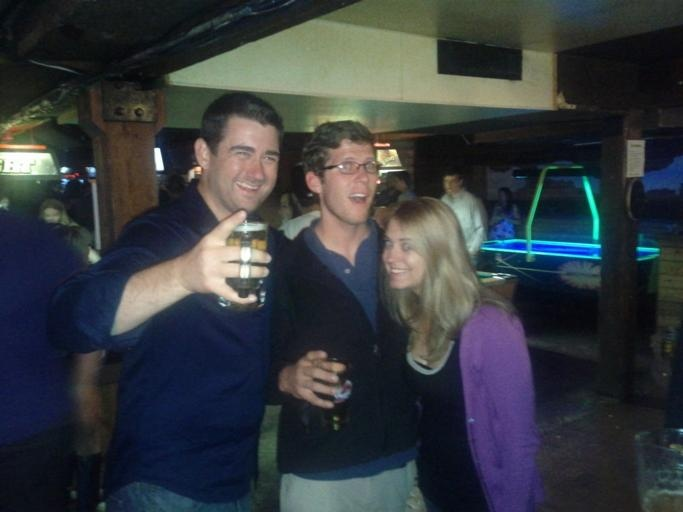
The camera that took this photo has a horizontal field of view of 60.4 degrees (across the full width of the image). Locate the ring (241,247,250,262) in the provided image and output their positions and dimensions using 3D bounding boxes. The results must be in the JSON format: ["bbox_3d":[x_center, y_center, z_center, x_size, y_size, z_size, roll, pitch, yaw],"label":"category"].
[{"bbox_3d":[-0.372,-0.007,2.294,0.042,0.050,0.013,3,0,-8],"label":"ring"}]

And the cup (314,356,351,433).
[{"bbox_3d":[-0.036,0.755,3.122,0.182,0.351,0.172,1,-1,0],"label":"cup"}]

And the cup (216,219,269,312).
[{"bbox_3d":[-0.405,0.053,2.469,0.238,0.395,0.335,-7,14,-15],"label":"cup"}]
